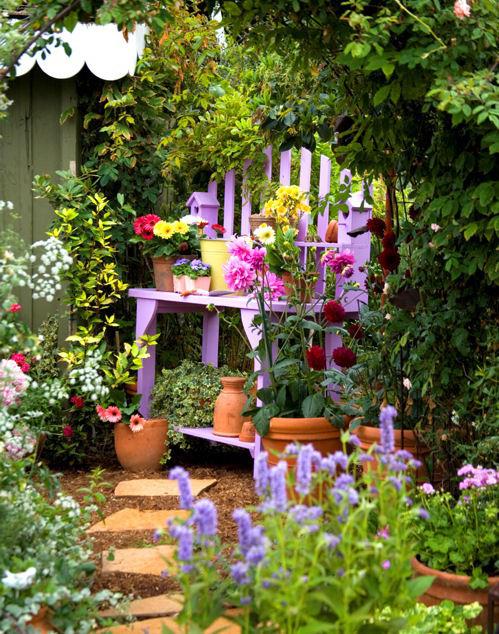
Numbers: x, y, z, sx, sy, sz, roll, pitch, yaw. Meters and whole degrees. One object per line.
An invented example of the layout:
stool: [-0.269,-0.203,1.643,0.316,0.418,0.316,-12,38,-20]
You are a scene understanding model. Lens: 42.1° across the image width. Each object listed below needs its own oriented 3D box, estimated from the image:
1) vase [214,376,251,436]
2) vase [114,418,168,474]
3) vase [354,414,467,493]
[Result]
vase: [-0.078,0.456,3.303,0.218,0.272,0.199,1,0,16]
vase: [-0.564,0.664,3.410,0.313,0.293,0.289,1,-5,-6]
vase: [0.549,0.478,2.269,0.421,0.256,0.391,1,-5,0]
